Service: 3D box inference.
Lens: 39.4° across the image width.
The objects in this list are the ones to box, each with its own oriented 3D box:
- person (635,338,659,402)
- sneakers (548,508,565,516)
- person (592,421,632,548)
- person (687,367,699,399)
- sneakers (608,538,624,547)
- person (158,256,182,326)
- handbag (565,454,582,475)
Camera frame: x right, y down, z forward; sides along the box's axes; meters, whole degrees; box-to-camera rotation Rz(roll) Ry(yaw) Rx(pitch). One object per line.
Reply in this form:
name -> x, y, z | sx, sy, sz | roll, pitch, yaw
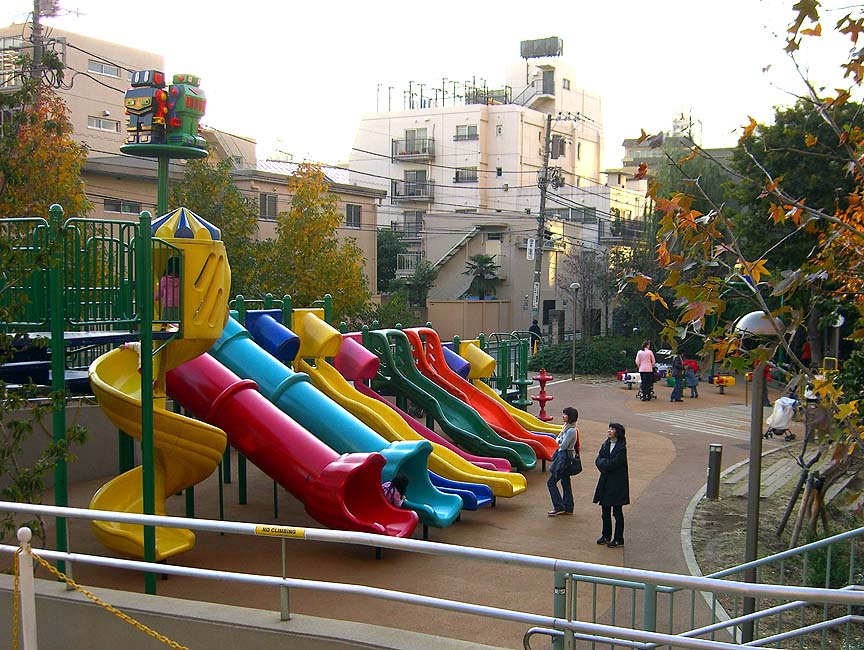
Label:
person -> 6.258, 1.293, 35.418 | 0.513, 1.445, 2.383 | 4, 1, 10
sneakers -> 2.089, 3.150, 20.646 | 0.120, 0.134, 0.276 | 1, 0, -44
person -> 2.844, 2.459, 19.143 | 0.523, 1.566, 1.087 | 4, 1, 9
person -> 7.808, 1.680, 36.178 | 0.368, 0.749, 1.153 | 4, 1, 13
sneakers -> 2.870, 3.373, 18.860 | 0.235, 0.118, 0.100 | -2, -5, 27
person -> -3.680, -0.518, 16.931 | 0.327, 0.915, 0.163 | 4, 2, 5
handbag -> 2.394, 2.326, 20.536 | 0.241, 0.544, 0.358 | -1, 4, -6
